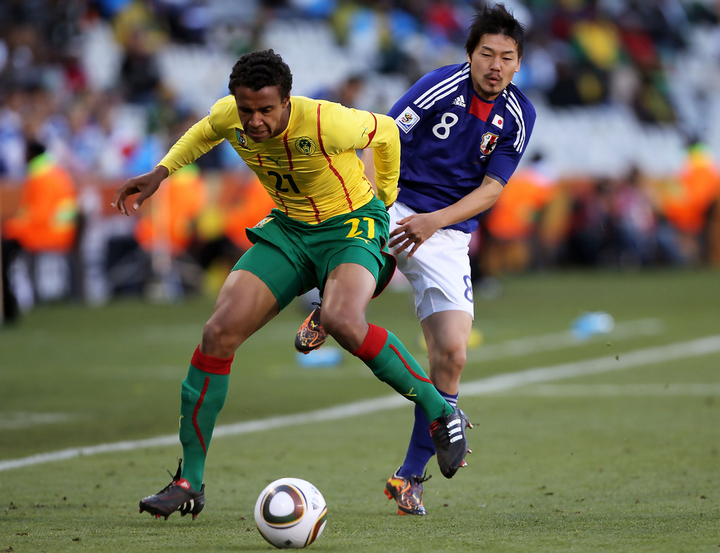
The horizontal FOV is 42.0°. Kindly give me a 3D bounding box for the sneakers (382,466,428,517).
[{"bbox_3d":[0.244,1.129,4.910,0.126,0.199,0.358,14,12,-30],"label":"sneakers"}]

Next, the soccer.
[{"bbox_3d":[-0.323,1.055,4.289,0.278,0.290,0.275,5,-37,1],"label":"soccer"}]

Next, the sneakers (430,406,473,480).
[{"bbox_3d":[0.456,0.818,4.858,0.181,0.266,0.513,-28,17,18],"label":"sneakers"}]

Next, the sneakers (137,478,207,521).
[{"bbox_3d":[-0.899,1.070,4.556,0.342,0.175,0.118,15,-20,-37],"label":"sneakers"}]

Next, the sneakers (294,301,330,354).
[{"bbox_3d":[-0.262,0.262,5.427,0.137,0.364,0.164,21,-25,2],"label":"sneakers"}]
